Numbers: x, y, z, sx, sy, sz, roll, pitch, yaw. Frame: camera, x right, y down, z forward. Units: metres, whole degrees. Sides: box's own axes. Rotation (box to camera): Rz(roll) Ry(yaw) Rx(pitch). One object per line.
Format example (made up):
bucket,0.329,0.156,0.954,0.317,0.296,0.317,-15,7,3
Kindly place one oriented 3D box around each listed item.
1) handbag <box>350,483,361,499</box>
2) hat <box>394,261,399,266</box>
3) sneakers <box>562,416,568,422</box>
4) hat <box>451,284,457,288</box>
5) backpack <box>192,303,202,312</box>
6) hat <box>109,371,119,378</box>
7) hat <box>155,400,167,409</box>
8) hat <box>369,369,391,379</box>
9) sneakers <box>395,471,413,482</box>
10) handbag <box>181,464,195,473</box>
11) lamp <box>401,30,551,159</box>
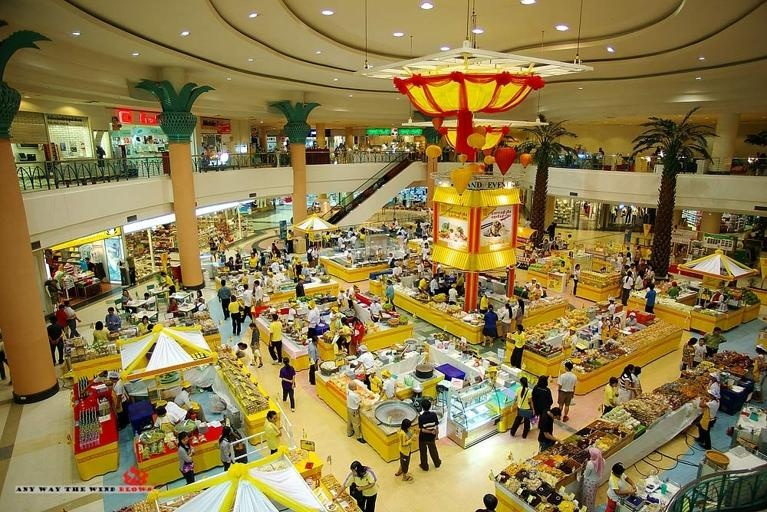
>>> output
handbag,-0.611,5.090,10.367,0.235,0.318,0.329,-4,-4,-3
hat,0.567,0.339,20.533,0.181,0.044,0.183,15,27,35
sneakers,4.808,4.338,12.795,0.091,0.164,0.106,-12,23,-6
hat,2.660,1.157,18.379,0.137,0.137,0.139,1,5,8
backpack,-6.322,1.761,16.388,0.254,0.324,0.351,5,-28,-30
hat,-7.448,3.311,13.386,0.233,0.108,0.321,7,6,-28
hat,-5.619,3.780,12.251,0.363,0.084,0.358,-1,6,-15
hat,-0.021,3.285,13.216,0.404,0.147,0.292,25,-10,-41
sneakers,0.465,5.219,11.394,0.330,0.129,0.178,1,10,18
handbag,-4.407,4.821,10.922,0.270,0.255,0.189,-3,13,-13
lamp,1.802,-3.636,11.589,2.647,1.768,2.614,-5,12,-14
